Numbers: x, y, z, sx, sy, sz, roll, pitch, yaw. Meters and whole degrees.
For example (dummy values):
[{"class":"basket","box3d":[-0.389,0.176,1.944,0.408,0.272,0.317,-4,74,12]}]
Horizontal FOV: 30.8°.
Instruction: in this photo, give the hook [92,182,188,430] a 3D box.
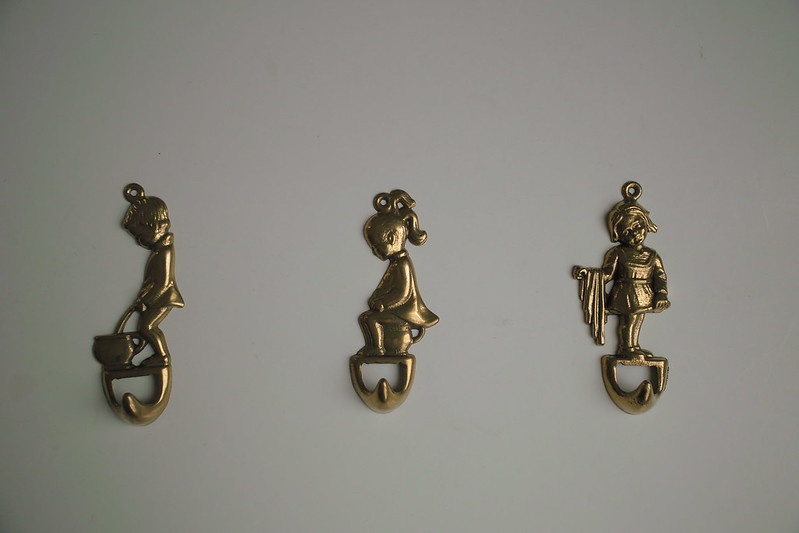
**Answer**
[{"class":"hook","box3d":[-0.539,0.074,3.023,0.177,0.455,0.202,6,-27,-12]}]

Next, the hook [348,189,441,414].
[{"class":"hook","box3d":[-0.010,0.066,3.057,0.181,0.424,0.184,2,-26,-5]}]

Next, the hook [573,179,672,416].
[{"class":"hook","box3d":[0.478,0.064,3.122,0.184,0.454,0.195,-9,-28,18]}]
